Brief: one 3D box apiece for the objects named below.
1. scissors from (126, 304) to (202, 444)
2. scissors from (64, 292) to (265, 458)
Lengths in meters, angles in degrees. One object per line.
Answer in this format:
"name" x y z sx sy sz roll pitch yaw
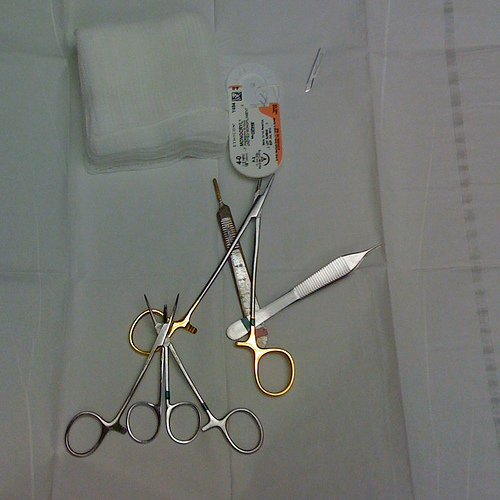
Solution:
"scissors" -0.135 0.226 1.510 0.105 0.193 0.188 2 35 -1
"scissors" -0.179 0.175 1.409 0.236 0.313 0.012 0 -7 -4
